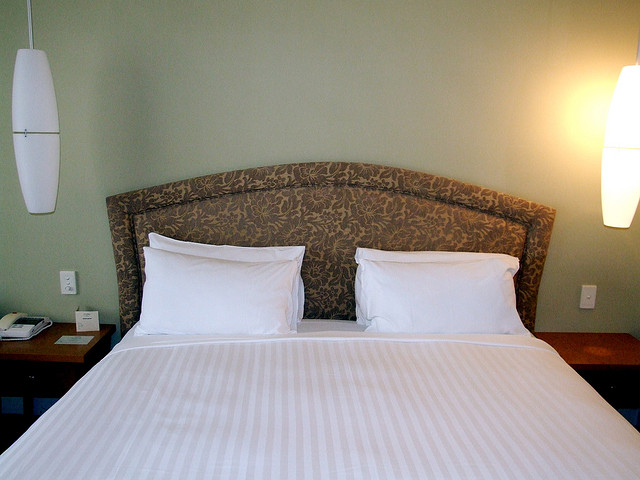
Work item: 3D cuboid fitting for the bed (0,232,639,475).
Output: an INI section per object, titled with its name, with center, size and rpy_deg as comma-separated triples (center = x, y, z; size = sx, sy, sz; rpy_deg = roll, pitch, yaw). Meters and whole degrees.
[bed]
center = 0.079, 0.462, 1.993
size = 2.285, 0.592, 1.389
rpy_deg = 1, 12, 9

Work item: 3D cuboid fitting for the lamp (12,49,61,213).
[lamp]
center = -1.284, -0.482, 2.042
size = 0.182, 0.728, 0.123
rpy_deg = -10, 15, -35
